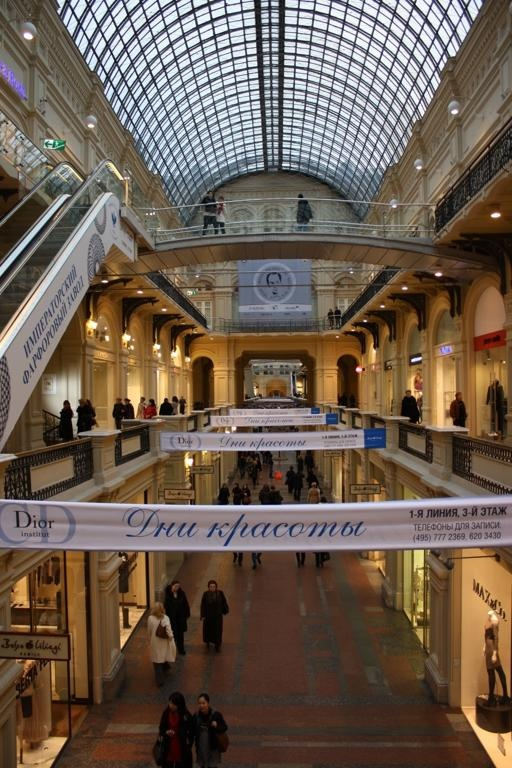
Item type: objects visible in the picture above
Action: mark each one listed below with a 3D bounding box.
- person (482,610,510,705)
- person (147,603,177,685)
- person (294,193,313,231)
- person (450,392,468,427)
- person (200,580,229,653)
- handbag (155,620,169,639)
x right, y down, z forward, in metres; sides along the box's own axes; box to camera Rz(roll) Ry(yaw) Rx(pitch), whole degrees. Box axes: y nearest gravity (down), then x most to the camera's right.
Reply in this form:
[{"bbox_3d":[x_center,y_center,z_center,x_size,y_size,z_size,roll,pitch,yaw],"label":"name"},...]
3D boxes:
[{"bbox_3d":[3.142,3.617,6.816,0.191,1.166,0.462,1,-5,-9],"label":"person"},{"bbox_3d":[-1.624,4.423,8.851,0.434,1.574,1.151,1,-5,-11],"label":"person"},{"bbox_3d":[1.405,-5.129,15.046,0.462,1.268,0.911,-1,-5,6],"label":"person"},{"bbox_3d":[4.887,0.600,12.522,0.331,0.836,0.904,-2,-6,21],"label":"person"},{"bbox_3d":[-0.782,4.497,10.128,0.501,1.415,0.390,1,15,13],"label":"person"},{"bbox_3d":[-1.558,4.083,8.568,0.231,0.308,0.119,11,20,24],"label":"handbag"}]
